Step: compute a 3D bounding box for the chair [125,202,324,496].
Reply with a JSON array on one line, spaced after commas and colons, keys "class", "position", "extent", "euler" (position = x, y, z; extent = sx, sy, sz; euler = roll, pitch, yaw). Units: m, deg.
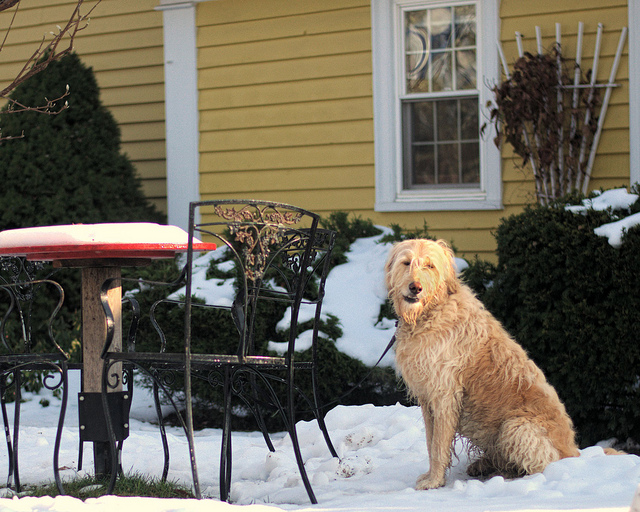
[{"class": "chair", "position": [-0.748, 0.681, 10.383], "extent": [1.247, 2.408, 1.523], "euler": [1, 7, -11]}]

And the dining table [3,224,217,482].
[{"class": "dining table", "position": [-1.679, 0.636, 10.070], "extent": [1.554, 2.445, 1.199], "euler": [-3, 1, -38]}]
